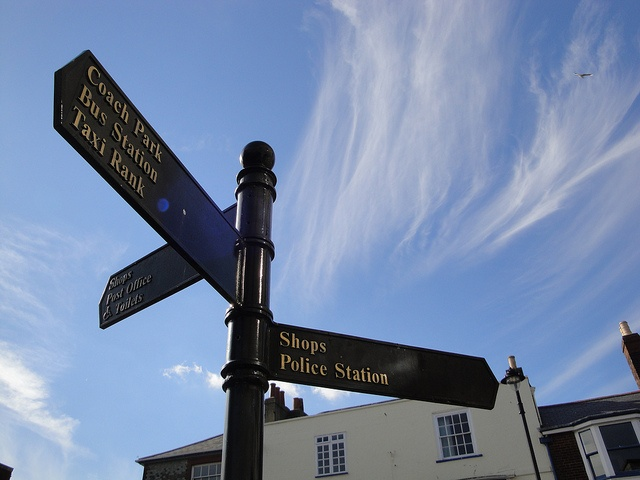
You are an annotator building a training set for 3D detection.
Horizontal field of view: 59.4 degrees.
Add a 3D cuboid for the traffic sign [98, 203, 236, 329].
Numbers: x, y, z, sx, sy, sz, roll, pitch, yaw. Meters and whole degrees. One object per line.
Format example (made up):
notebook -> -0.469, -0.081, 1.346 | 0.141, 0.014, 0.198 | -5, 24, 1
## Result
traffic sign -> -1.202, 0.214, 4.601 | 1.665, 0.630, 0.064 | -27, -50, 16
